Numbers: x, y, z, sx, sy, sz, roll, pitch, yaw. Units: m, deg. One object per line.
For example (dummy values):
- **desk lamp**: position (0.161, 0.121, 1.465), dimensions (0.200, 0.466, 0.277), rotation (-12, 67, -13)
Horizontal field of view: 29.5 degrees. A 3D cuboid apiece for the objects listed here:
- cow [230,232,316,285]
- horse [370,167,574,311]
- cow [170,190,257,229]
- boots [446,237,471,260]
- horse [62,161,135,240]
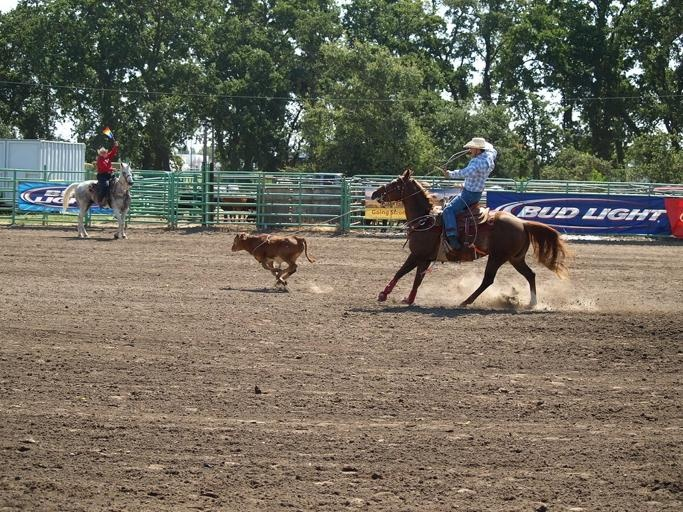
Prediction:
- **cow**: position (-2.275, 0.149, 43.068), dimensions (2.190, 1.697, 0.703), rotation (2, 1, 5)
- **horse**: position (4.125, -0.363, 41.966), dimensions (6.887, 3.765, 1.498), rotation (4, 1, -10)
- **cow**: position (-5.472, -2.135, 56.897), dimensions (3.438, 1.386, 3.341), rotation (1, 2, -7)
- **boots**: position (3.859, -0.164, 41.551), dimensions (0.773, 0.713, 0.284), rotation (0, 42, 22)
- **horse**: position (-9.757, -2.437, 52.738), dimensions (2.425, 3.596, 2.171), rotation (4, 17, 10)
